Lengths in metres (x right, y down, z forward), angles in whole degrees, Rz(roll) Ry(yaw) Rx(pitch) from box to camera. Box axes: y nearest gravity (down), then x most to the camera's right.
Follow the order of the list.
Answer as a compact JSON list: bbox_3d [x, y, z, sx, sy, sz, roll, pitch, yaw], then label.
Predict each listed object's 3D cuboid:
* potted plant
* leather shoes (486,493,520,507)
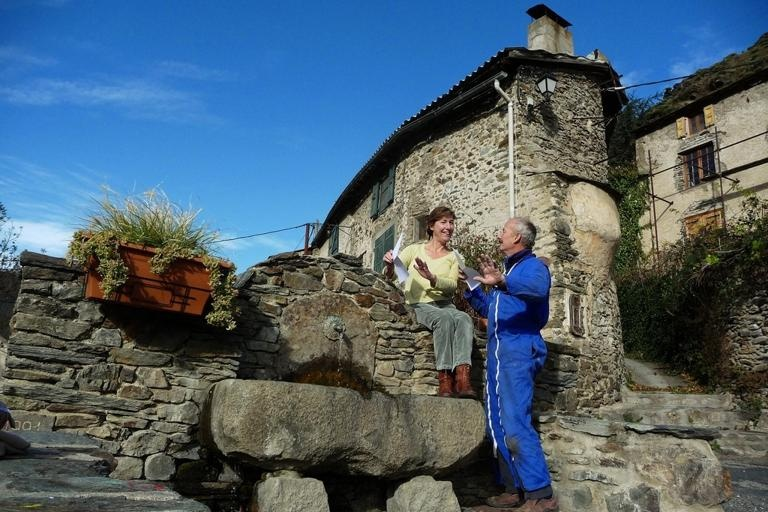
[{"bbox_3d":[-1.865,0.055,4.805,1.527,1.016,1.035,3,-7,17],"label":"potted plant"},{"bbox_3d":[1.123,2.303,4.801,0.260,0.101,0.121,3,-14,5],"label":"leather shoes"}]
